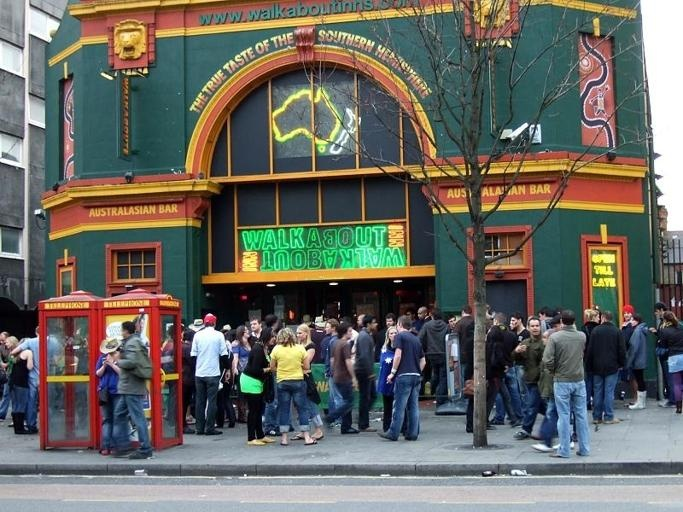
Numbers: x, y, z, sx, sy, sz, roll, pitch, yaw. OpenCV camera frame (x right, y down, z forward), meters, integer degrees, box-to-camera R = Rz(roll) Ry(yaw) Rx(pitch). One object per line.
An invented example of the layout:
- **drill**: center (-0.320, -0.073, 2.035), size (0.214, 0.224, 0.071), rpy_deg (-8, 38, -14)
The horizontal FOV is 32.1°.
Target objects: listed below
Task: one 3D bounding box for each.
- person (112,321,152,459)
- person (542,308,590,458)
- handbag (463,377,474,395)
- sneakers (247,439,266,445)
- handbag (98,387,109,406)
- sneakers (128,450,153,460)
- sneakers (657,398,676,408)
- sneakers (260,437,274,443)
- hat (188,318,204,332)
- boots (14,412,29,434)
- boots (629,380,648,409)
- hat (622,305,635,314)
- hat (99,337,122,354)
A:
- **person**: center (-4.336, 2.733, 24.679), size (0.747, 2.858, 0.948), rpy_deg (0, -9, -15)
- **person**: center (4.506, 2.521, 23.578), size (0.904, 2.869, 0.567), rpy_deg (2, -10, -25)
- **handbag**: center (2.802, 2.865, 25.990), size (0.241, 0.315, 0.324), rpy_deg (11, -50, -5)
- **sneakers**: center (-1.838, 4.027, 25.843), size (0.330, 0.138, 0.139), rpy_deg (1, 0, 0)
- **handbag**: center (-4.970, 2.923, 24.905), size (0.234, 0.333, 0.189), rpy_deg (-4, -9, 10)
- **sneakers**: center (-4.137, 4.091, 24.621), size (0.530, 0.238, 0.197), rpy_deg (5, -4, 3)
- **sneakers**: center (8.224, 3.670, 29.905), size (0.459, 0.190, 0.172), rpy_deg (2, 0, 14)
- **sneakers**: center (-1.599, 4.001, 25.991), size (0.215, 0.089, 0.115), rpy_deg (-2, 2, -4)
- **hat**: center (-3.589, 1.730, 29.648), size (0.440, 0.148, 0.447), rpy_deg (-2, 5, 2)
- **boots**: center (-7.683, 4.003, 28.800), size (0.262, 0.563, 0.569), rpy_deg (2, 2, 18)
- **boots**: center (7.483, 3.558, 29.661), size (0.428, 0.509, 0.425), rpy_deg (-1, -5, 26)
- **hat**: center (7.325, 1.355, 30.226), size (0.220, 0.305, 0.298), rpy_deg (2, 11, 12)
- **hat**: center (-4.783, 1.871, 24.642), size (0.351, 0.308, 0.137), rpy_deg (-30, -45, -5)
